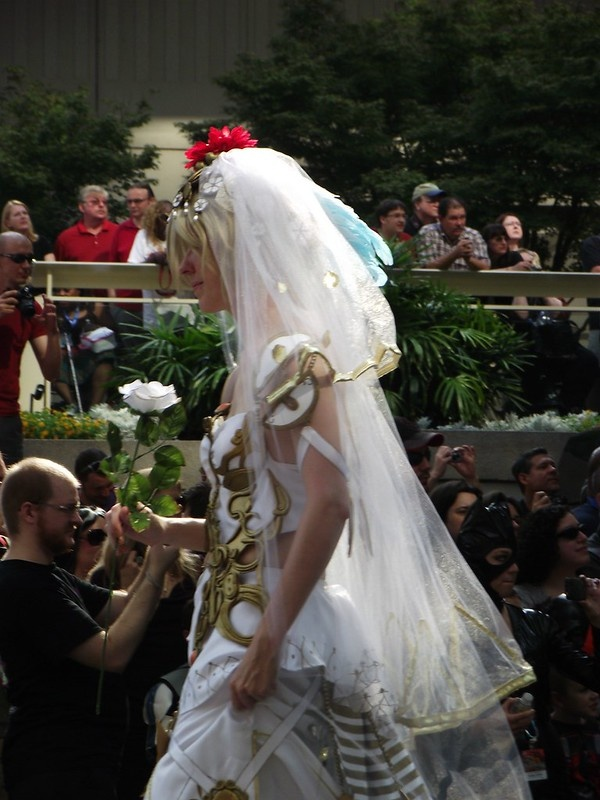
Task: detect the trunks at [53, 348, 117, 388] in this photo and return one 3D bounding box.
[{"bbox_3d":[-1.556,-0.233,6.493,0.334,0.255,0.097,3,-3,-27],"label":"trunks"}]

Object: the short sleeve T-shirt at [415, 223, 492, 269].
[{"bbox_3d":[1.305,-1.307,7.699,0.614,0.368,0.272,2,-9,-13],"label":"short sleeve T-shirt"}]

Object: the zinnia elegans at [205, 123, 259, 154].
[{"bbox_3d":[-0.138,-0.538,1.850,0.102,0.038,0.095,20,32,36],"label":"zinnia elegans"}]
